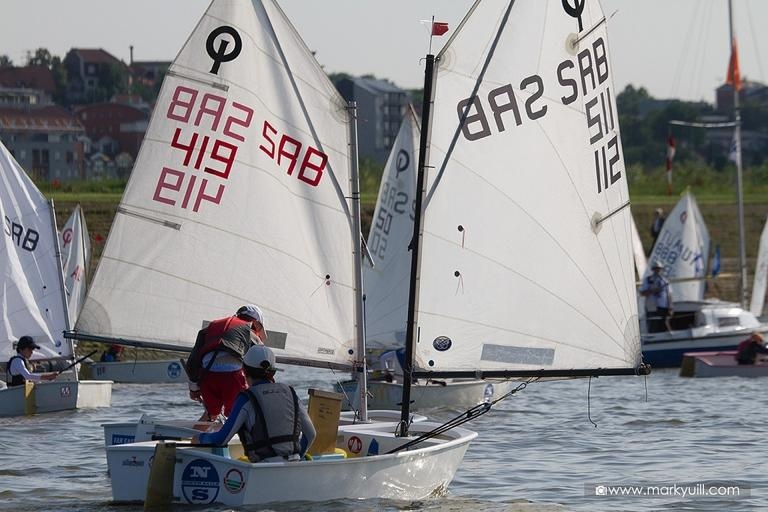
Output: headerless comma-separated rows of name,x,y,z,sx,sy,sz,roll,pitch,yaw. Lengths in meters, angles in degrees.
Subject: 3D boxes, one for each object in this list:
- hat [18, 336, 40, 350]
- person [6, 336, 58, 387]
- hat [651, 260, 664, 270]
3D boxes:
hat,-7.034,1.688,35.035,0.323,0.204,0.234,11,4,-31
person,-6.941,2.088,35.229,0.895,1.370,0.855,-5,16,-26
hat,6.616,0.240,42.301,0.306,0.146,0.314,1,0,-27
